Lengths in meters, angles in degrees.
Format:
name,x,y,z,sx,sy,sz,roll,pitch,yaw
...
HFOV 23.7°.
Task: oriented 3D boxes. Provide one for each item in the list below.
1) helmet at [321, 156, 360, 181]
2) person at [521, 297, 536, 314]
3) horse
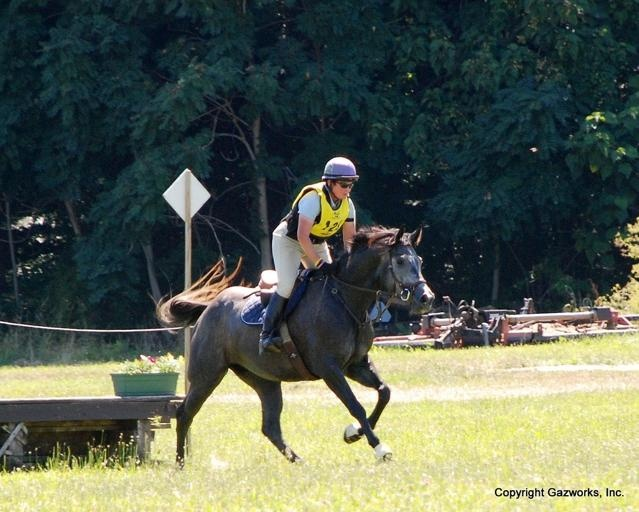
name,x,y,z,sx,sy,sz,roll,pitch,yaw
helmet,0.397,-1.970,33.902,0.646,0.331,0.517,4,3,38
person,7.060,1.628,51.200,0.567,0.810,0.565,0,-6,2
horse,-0.827,2.340,35.225,8.349,5.696,1.971,-5,-9,39
